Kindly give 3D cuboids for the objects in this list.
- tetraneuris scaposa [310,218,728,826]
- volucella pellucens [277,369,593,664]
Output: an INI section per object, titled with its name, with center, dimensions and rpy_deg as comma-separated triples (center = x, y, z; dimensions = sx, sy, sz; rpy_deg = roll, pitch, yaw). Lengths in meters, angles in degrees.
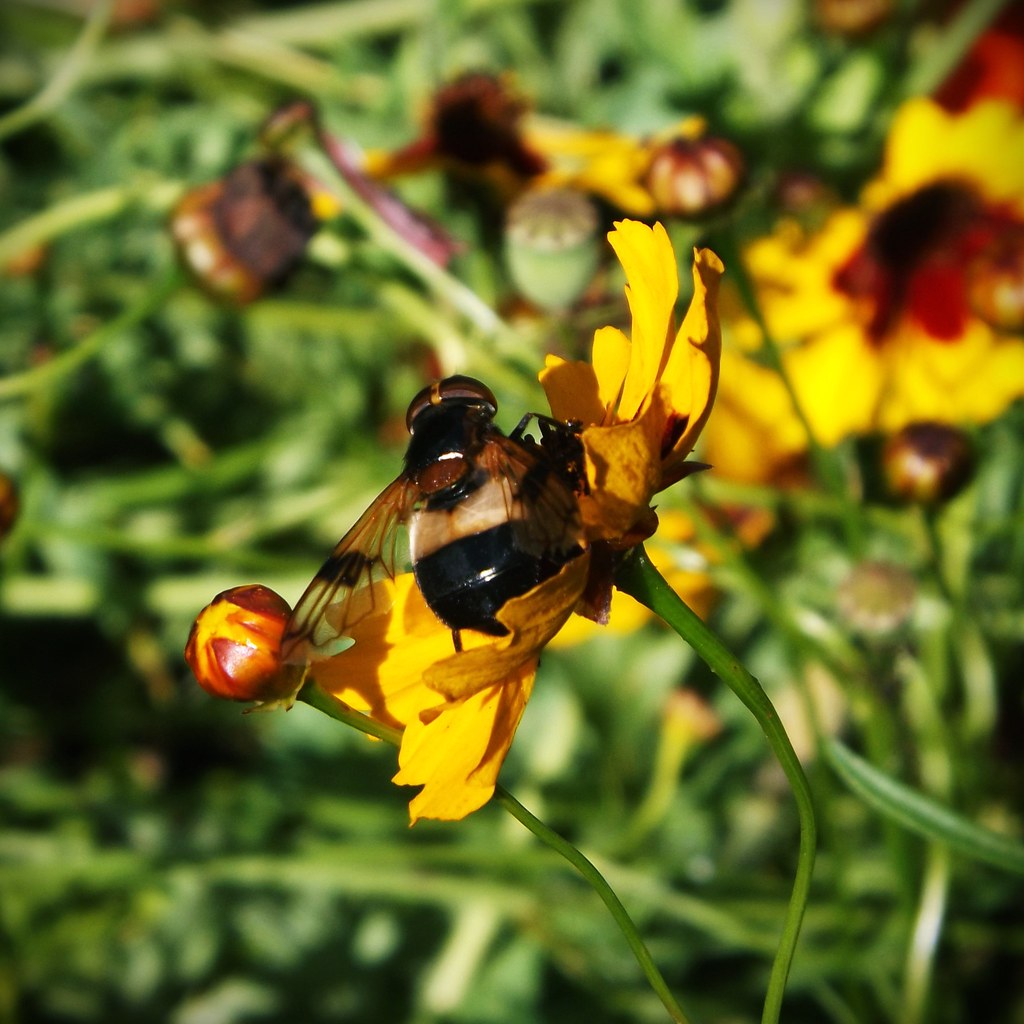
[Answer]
[tetraneuris scaposa]
center = 0.001, 0.015, 0.527
dimensions = 0.214, 0.267, 0.139
rpy_deg = -1, 23, 1
[volucella pellucens]
center = -0.013, 0.009, 0.498
dimensions = 0.167, 0.110, 0.056
rpy_deg = -16, -24, 32
